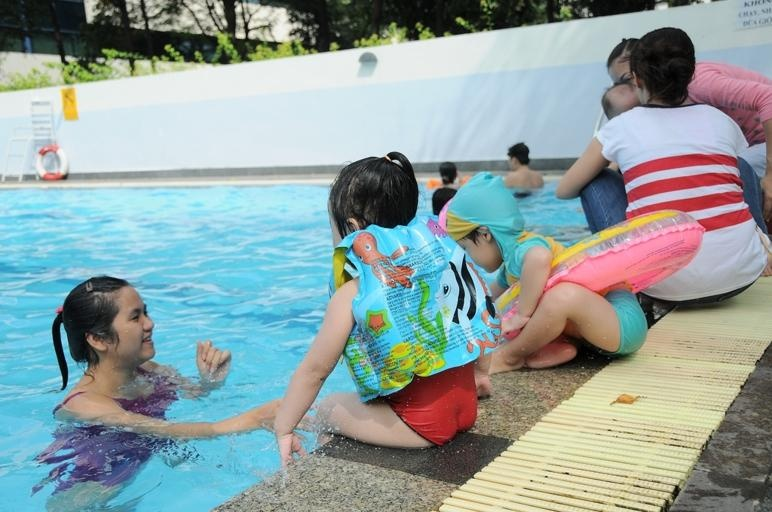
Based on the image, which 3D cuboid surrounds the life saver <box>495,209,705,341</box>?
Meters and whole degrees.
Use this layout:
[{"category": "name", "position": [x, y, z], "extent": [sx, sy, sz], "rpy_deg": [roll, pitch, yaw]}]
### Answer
[{"category": "life saver", "position": [1.204, -0.078, 2.749], "extent": [0.821, 0.216, 0.803], "rpy_deg": [-13, -15, -47]}]

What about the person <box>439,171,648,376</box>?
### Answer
[{"category": "person", "position": [0.761, 0.014, 3.056], "extent": [1.211, 1.076, 0.858], "rpy_deg": [-6, 19, 28]}]

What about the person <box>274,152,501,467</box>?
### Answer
[{"category": "person", "position": [-0.002, 0.200, 2.207], "extent": [0.958, 1.165, 0.429], "rpy_deg": [-5, 19, -5]}]

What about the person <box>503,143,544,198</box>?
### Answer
[{"category": "person", "position": [2.186, -1.340, 8.940], "extent": [0.784, 1.011, 0.705], "rpy_deg": [-9, 14, -17]}]
